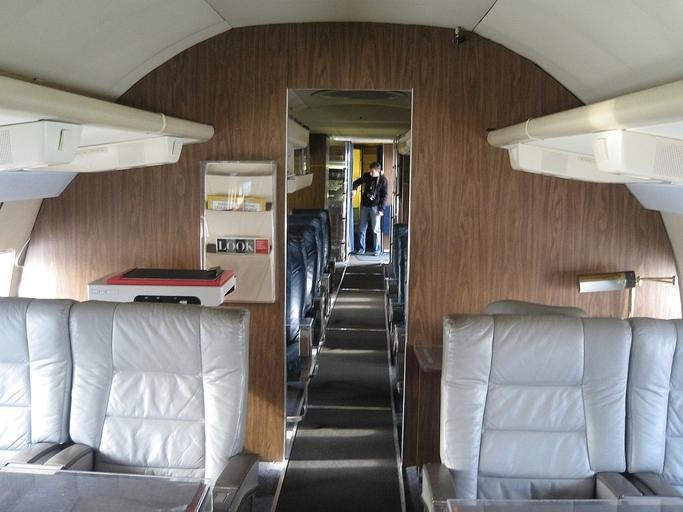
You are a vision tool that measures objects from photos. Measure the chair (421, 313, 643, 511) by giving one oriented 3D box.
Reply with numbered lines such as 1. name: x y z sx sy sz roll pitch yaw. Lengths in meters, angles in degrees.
1. chair: 0.762 0.621 2.740 0.738 1.049 0.810 1 2 4
